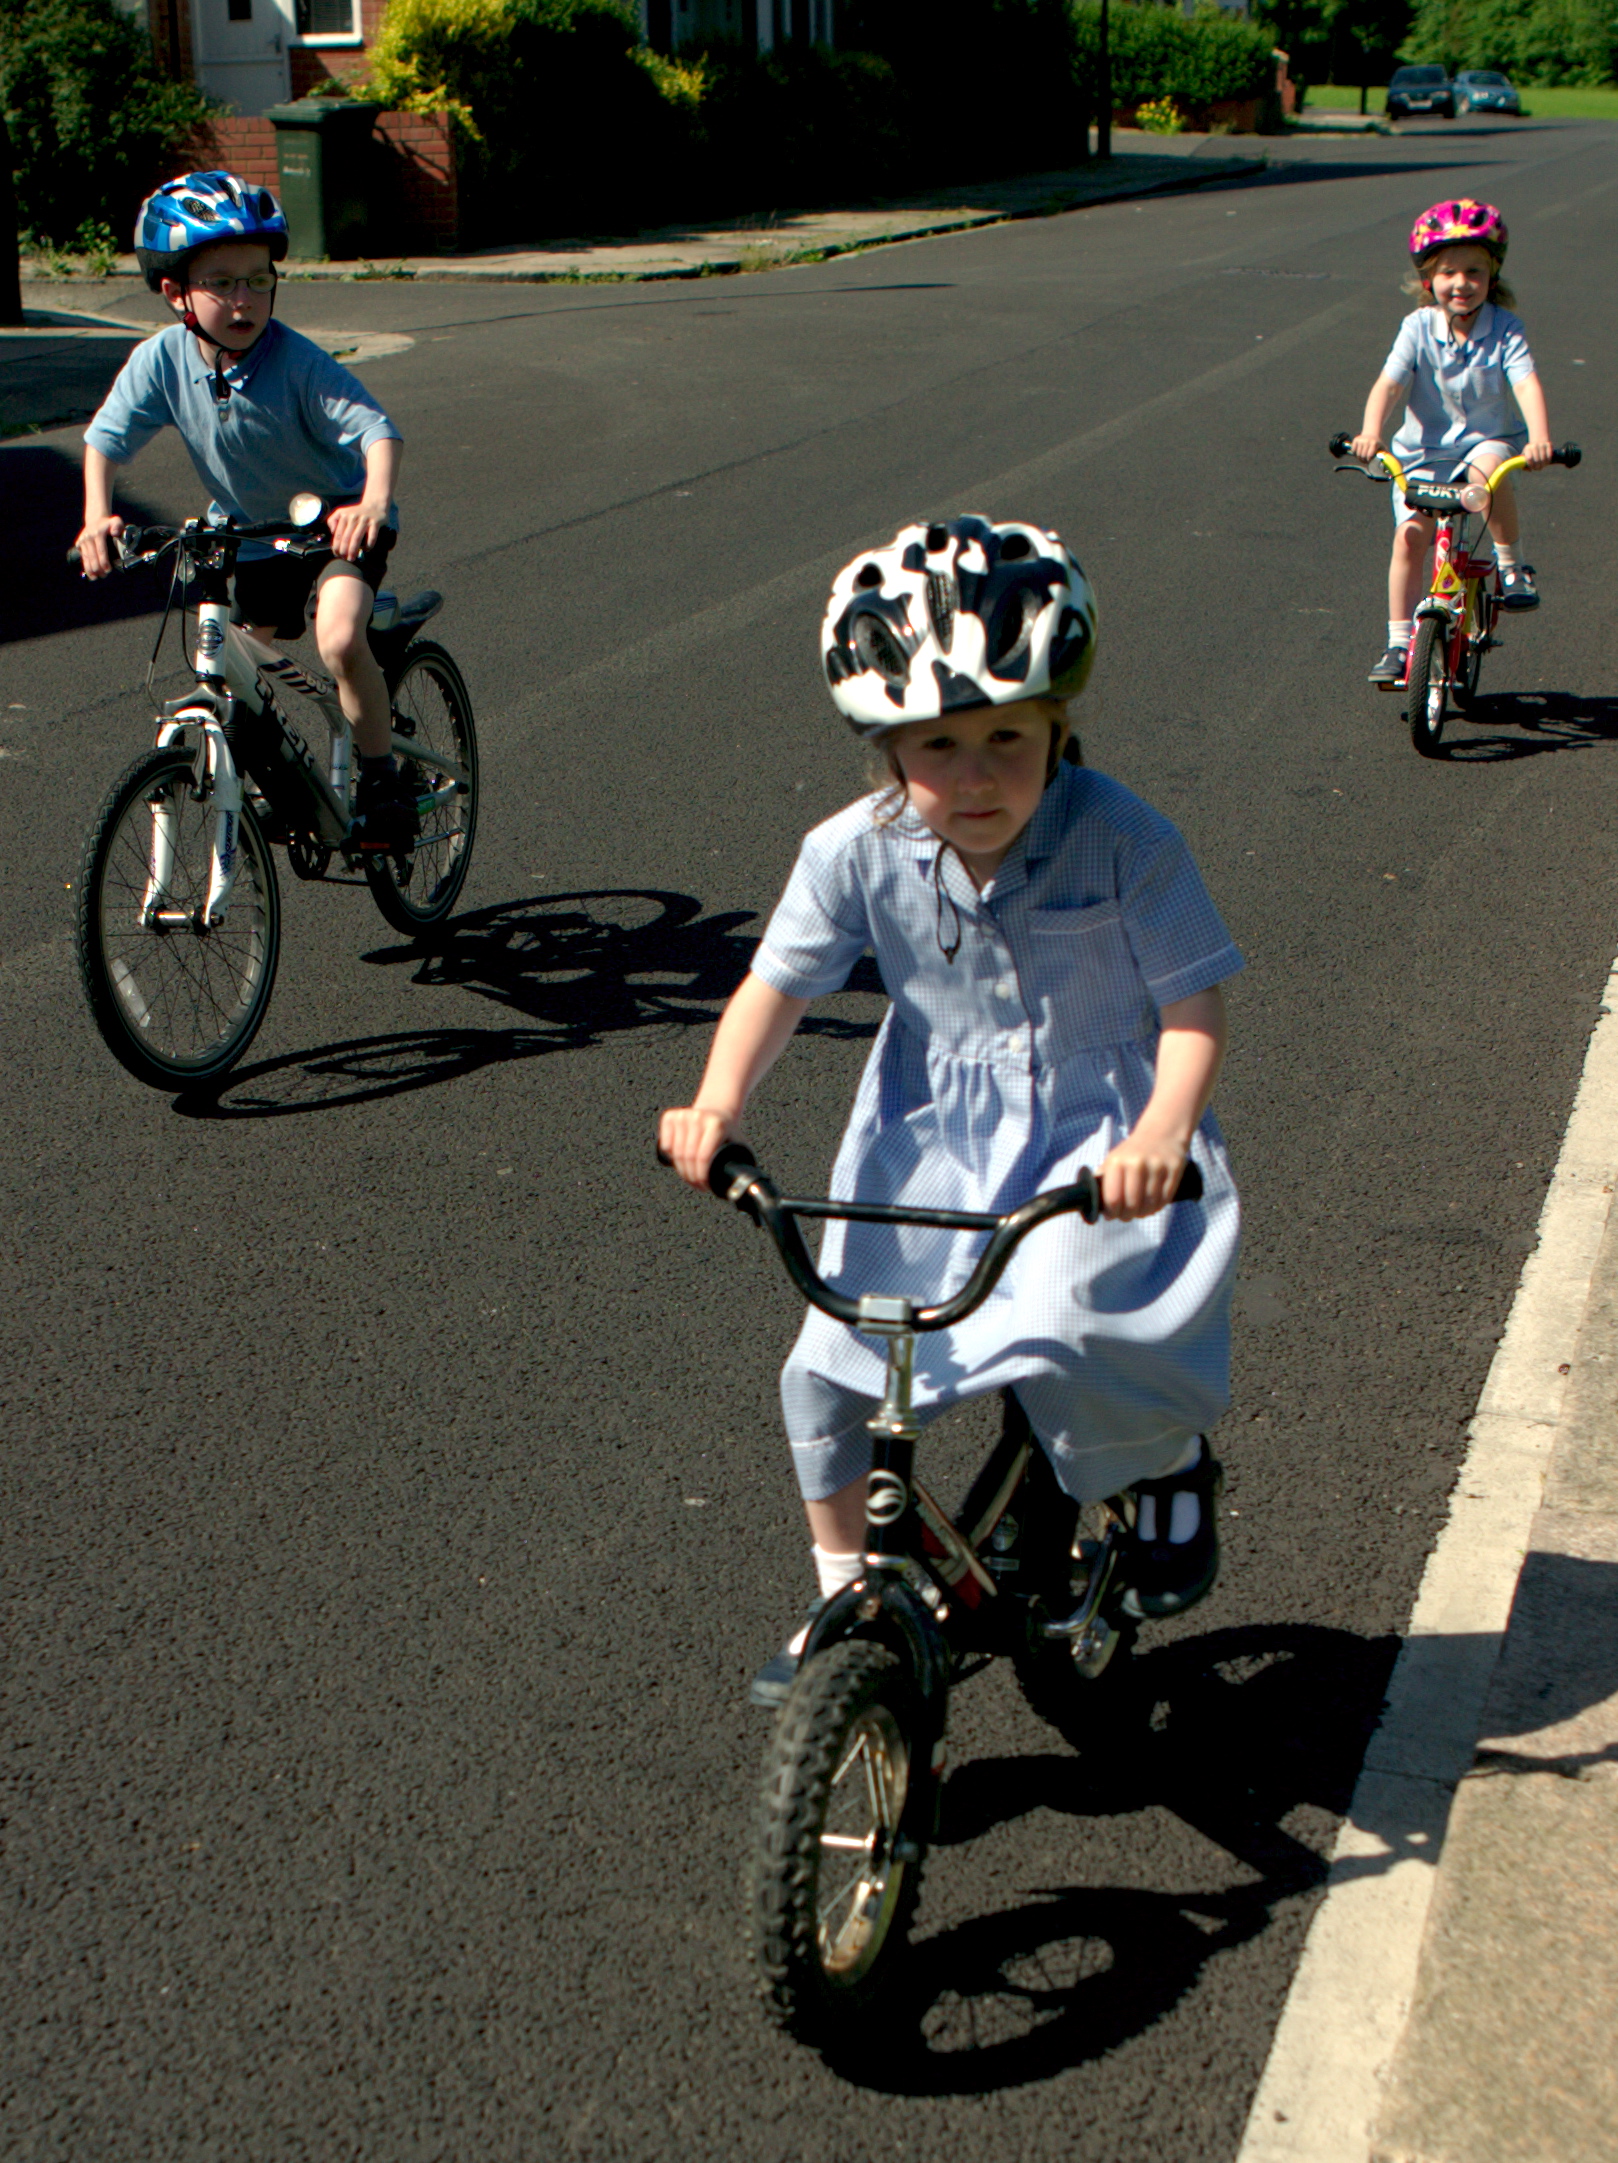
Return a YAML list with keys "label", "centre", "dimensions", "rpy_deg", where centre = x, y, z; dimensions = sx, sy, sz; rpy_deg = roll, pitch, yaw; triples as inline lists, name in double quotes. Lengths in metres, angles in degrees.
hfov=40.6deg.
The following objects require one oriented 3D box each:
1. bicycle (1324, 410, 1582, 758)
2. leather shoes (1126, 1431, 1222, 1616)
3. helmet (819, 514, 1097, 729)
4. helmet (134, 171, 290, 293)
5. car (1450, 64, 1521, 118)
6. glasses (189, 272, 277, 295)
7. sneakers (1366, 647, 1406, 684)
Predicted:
- label: "bicycle"
  centre: [2.387, -1.854, 8.154]
  dimensions: [0.835, 0.973, 1.590]
  rpy_deg: [-1, 26, 23]
- label: "leather shoes"
  centre: [0.456, 0.543, 2.679]
  dimensions: [0.093, 0.089, 0.229]
  rpy_deg: [-14, 22, 19]
- label: "helmet"
  centre: [0.150, -0.456, 2.184]
  dimensions: [0.254, 0.179, 0.199]
  rpy_deg: [0, 24, 2]
- label: "helmet"
  centre: [-1.412, -2.016, 5.181]
  dimensions: [0.330, 0.268, 0.341]
  rpy_deg: [-6, 24, -11]
- label: "car"
  centre: [25.197, -37.066, 81.873]
  dimensions: [1.525, 1.449, 3.229]
  rpy_deg: [0, 23, 1]
- label: "glasses"
  centre: [-1.378, -1.905, 5.236]
  dimensions: [0.121, 0.032, 0.114]
  rpy_deg: [-5, 14, -26]
- label: "sneakers"
  centre: [2.241, -1.599, 8.484]
  dimensions: [0.080, 0.201, 0.095]
  rpy_deg: [3, 11, 2]
